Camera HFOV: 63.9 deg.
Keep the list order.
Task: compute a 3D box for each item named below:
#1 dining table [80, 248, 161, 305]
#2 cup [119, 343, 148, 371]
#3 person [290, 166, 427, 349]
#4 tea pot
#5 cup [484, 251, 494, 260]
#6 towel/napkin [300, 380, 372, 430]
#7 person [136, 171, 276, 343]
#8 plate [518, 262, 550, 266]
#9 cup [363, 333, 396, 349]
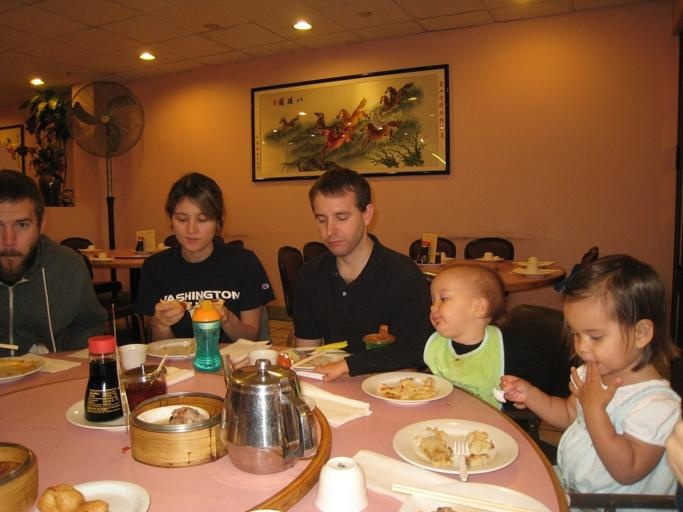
[{"bbox_3d":[-1.673,0.144,4.136,0.634,0.375,0.626,0,2,-3],"label":"dining table"},{"bbox_3d":[-0.681,0.318,1.791,0.107,0.078,0.102,-1,-8,0],"label":"cup"},{"bbox_3d":[0.049,0.092,2.349,0.634,0.861,0.564,-4,-3,31],"label":"person"},{"bbox_3d":[-0.181,0.349,1.391,0.192,0.225,0.295,-12,24,-36],"label":"tea pot"},{"bbox_3d":[1.233,0.004,4.555,0.065,0.063,0.094,1,-2,-9],"label":"cup"},{"bbox_3d":[-0.035,0.427,1.592,0.173,0.026,0.113,20,26,41],"label":"towel/napkin"},{"bbox_3d":[-0.655,0.126,2.489,0.659,0.937,0.522,-1,10,-4],"label":"person"},{"bbox_3d":[1.500,0.063,4.199,0.185,0.036,0.131,-3,3,-28],"label":"plate"},{"bbox_3d":[0.144,0.317,2.044,0.082,0.040,0.080,0,-3,0],"label":"cup"}]
